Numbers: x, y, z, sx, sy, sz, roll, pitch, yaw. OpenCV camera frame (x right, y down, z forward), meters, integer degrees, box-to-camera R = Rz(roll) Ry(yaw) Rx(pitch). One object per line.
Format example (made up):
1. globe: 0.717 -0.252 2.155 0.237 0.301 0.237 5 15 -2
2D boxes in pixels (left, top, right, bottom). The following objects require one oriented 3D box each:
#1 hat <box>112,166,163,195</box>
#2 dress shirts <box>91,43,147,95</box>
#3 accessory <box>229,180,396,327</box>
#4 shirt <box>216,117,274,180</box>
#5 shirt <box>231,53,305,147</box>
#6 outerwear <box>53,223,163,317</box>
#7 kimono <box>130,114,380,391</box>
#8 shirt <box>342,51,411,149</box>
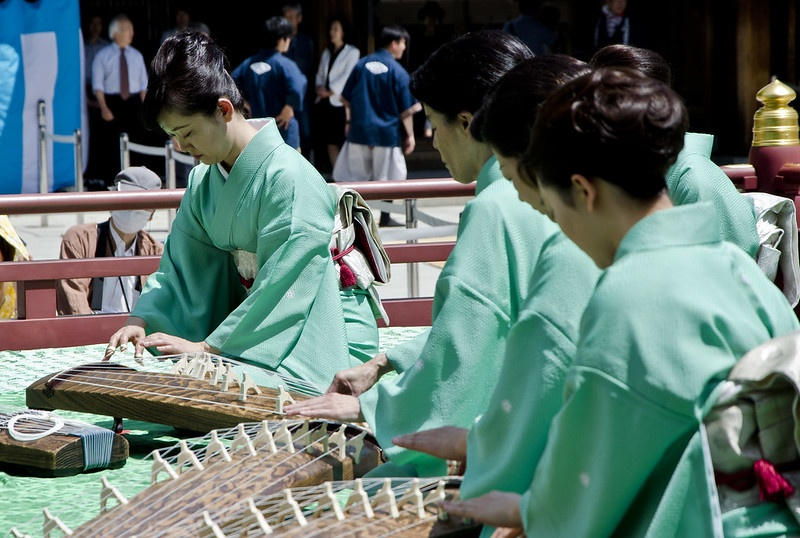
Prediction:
1. hat: -1.891 -0.637 7.127 0.251 0.157 0.370 22 6 25
2. dress shirts: -3.570 -2.517 12.708 0.756 0.663 0.388 -7 17 -38
3. accessory: -0.324 -0.166 5.147 0.565 0.787 0.324 -6 9 13
4. shirt: -0.738 -0.620 5.087 0.237 0.328 0.258 27 20 12
5. shirt: -1.538 -1.978 11.672 0.915 1.172 0.411 6 42 5
6. outerwear: -1.903 0.018 6.472 0.495 0.487 0.280 6 26 -38
7. kimono: -0.765 -0.007 5.245 1.229 1.336 1.167 -21 26 -26
8. shirt: -0.262 -1.848 10.780 0.838 1.034 0.376 8 26 3
